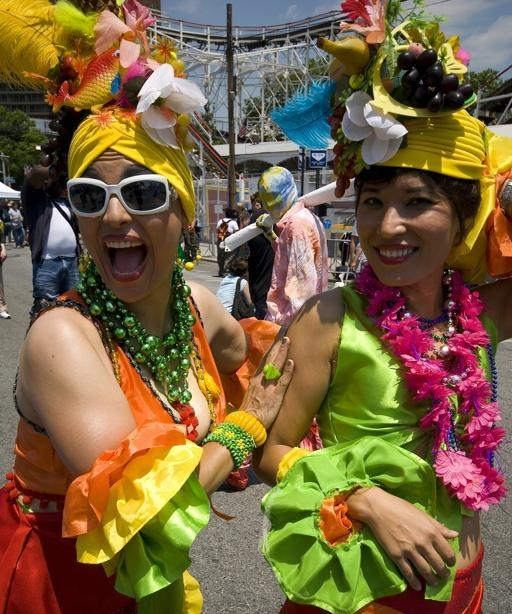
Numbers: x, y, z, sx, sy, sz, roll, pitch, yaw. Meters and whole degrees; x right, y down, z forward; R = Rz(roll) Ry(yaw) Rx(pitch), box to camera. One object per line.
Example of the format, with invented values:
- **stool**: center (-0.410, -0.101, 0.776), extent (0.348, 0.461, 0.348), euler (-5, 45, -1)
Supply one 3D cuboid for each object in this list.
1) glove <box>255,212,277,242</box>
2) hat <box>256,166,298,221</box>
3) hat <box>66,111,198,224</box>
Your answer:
- **glove**: center (0.094, -0.660, 4.617), extent (0.145, 0.152, 0.285), euler (-8, -14, -8)
- **hat**: center (0.140, -0.950, 4.533), extent (0.366, 0.386, 0.416), euler (5, 39, 12)
- **hat**: center (-0.345, -0.411, 1.614), extent (0.309, 0.271, 0.167), euler (-6, 33, 8)
